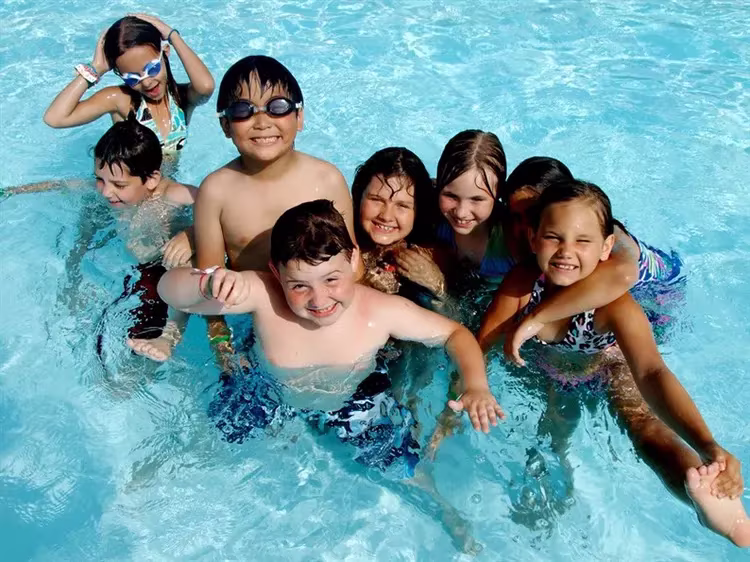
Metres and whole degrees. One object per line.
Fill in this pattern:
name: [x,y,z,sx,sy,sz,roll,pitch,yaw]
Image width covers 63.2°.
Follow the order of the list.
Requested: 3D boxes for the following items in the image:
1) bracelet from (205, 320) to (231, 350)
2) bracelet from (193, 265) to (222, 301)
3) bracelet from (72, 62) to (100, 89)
bracelet: [-1.083,0.344,4.197,0.134,0.084,0.229,-17,65,-27]
bracelet: [-0.972,0.019,3.580,0.156,0.200,0.187,1,99,33]
bracelet: [-2.471,-1.774,5.257,0.121,0.195,0.170,-40,66,-19]
